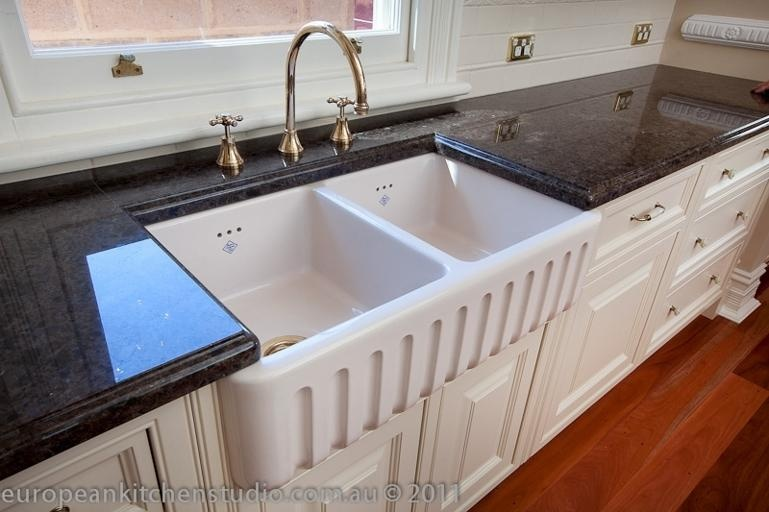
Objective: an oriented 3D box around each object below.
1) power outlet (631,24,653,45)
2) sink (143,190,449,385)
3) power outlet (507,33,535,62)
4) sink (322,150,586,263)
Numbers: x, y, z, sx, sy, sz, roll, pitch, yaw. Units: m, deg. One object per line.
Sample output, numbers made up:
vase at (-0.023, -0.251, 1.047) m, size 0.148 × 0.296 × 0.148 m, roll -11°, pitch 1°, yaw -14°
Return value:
power outlet at (1.360, -1.188, 2.634) m, size 0.129 × 0.084 × 0.015 m, roll -27°, pitch 45°, yaw -24°
sink at (-0.209, 0.043, 1.354) m, size 0.522 × 0.325 × 0.515 m, roll -26°, pitch 47°, yaw -35°
power outlet at (0.596, -0.910, 2.159) m, size 0.036 × 0.107 × 0.176 m, roll 29°, pitch 42°, yaw 35°
sink at (0.209, -0.239, 1.516) m, size 0.477 × 0.136 × 0.464 m, roll -24°, pitch 44°, yaw -30°
